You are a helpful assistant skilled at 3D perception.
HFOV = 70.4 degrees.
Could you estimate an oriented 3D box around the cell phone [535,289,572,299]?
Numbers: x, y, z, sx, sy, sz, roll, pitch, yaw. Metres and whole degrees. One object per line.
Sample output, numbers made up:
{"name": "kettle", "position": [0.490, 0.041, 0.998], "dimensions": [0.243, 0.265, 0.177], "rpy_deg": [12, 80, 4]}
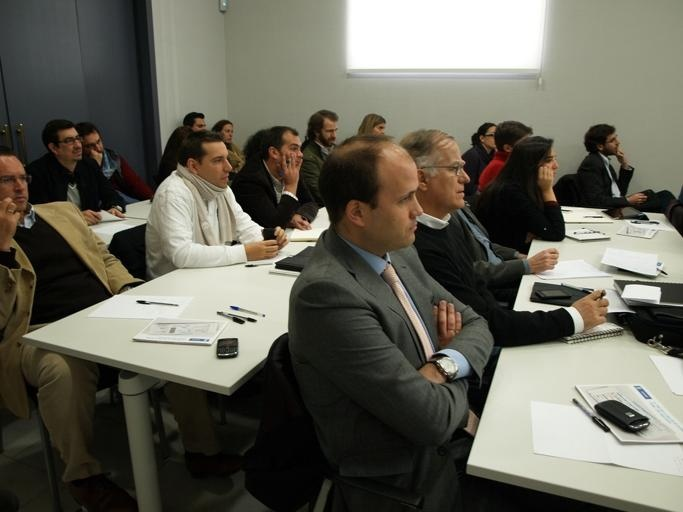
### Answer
{"name": "cell phone", "position": [0.955, 0.170, 2.181], "dimensions": [0.102, 0.011, 0.060], "rpy_deg": [-3, 13, -18]}

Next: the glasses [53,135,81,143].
{"name": "glasses", "position": [-2.251, -0.954, 3.966], "dimensions": [0.068, 0.061, 0.180], "rpy_deg": [21, 31, 40]}

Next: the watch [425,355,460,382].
{"name": "watch", "position": [0.331, 0.349, 1.576], "dimensions": [0.062, 0.097, 0.089], "rpy_deg": [-43, 8, -34]}

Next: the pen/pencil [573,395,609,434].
{"name": "pen/pencil", "position": [0.750, 0.474, 1.457], "dimensions": [0.024, 0.023, 0.135], "rpy_deg": [-31, 22, 3]}

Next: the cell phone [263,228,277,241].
{"name": "cell phone", "position": [-0.422, -0.126, 2.813], "dimensions": [0.076, 0.060, 0.063], "rpy_deg": [-4, -3, 39]}

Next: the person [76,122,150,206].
{"name": "person", "position": [-2.342, -0.941, 4.890], "dimensions": [0.341, 0.373, 1.151], "rpy_deg": [-9, -19, 11]}

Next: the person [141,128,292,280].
{"name": "person", "position": [-0.797, -0.108, 2.970], "dimensions": [0.720, 1.177, 0.753], "rpy_deg": [-1, 17, -25]}

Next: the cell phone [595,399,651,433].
{"name": "cell phone", "position": [0.828, 0.466, 1.427], "dimensions": [0.072, 0.023, 0.094], "rpy_deg": [-10, 21, -26]}
